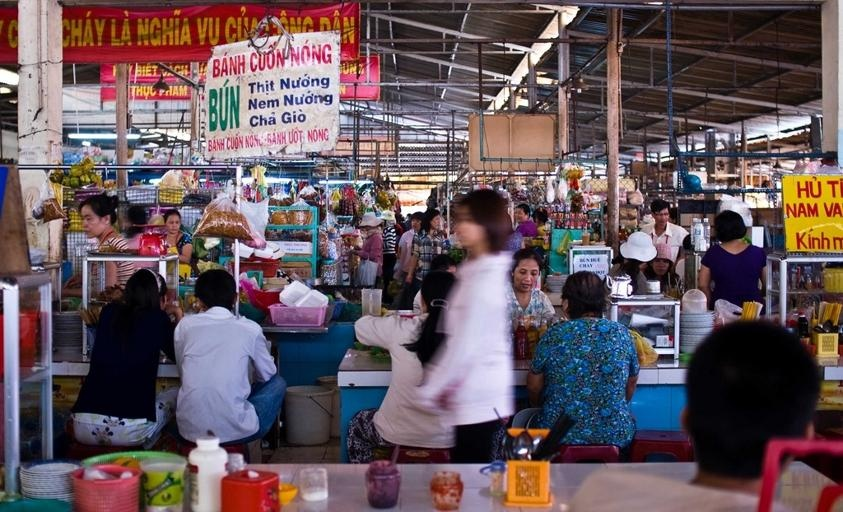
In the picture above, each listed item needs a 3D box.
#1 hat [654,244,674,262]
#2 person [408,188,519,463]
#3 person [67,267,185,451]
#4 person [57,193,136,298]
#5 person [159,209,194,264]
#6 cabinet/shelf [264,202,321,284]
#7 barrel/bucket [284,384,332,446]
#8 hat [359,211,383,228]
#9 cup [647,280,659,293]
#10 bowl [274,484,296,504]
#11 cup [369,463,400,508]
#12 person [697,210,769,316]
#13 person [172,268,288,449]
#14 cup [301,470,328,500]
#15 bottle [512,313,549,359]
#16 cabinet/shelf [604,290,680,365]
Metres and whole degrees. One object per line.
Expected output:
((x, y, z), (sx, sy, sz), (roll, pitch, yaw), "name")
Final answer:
((2.613, -0.043, 9.496), (0.219, 0.124, 0.250), (0, -8, 0), "hat")
((0.334, 0.545, 6.160), (0.584, 2.009, 0.798), (0, 2, 6), "person")
((-2.398, 0.819, 7.087), (0.781, 1.401, 0.293), (-1, 2, -21), "person")
((-3.013, -0.113, 8.137), (0.600, 0.843, 0.681), (7, 10, 30), "person")
((-2.771, -0.219, 9.987), (0.307, 0.638, 0.956), (0, 3, -14), "person")
((-1.732, -0.212, 11.886), (0.715, 0.969, 0.586), (0, 2, -7), "cabinet/shelf")
((-1.118, 1.606, 8.898), (0.586, 0.510, 0.562), (-1, -3, 0), "barrel/bucket")
((-0.850, -0.603, 14.684), (0.254, 0.153, 0.294), (-7, -1, 9), "hat")
((2.038, 0.274, 7.798), (0.099, 0.093, 0.098), (-1, 1, 0), "cup")
((-0.865, 1.535, 5.721), (0.107, 0.110, 0.192), (0, 3, 2), "bowl")
((-0.230, 1.458, 5.650), (0.249, 0.237, 0.247), (1, -5, 0), "cup")
((2.925, 0.043, 8.324), (0.601, 0.935, 0.417), (1, 2, 18), "person")
((-1.640, 0.951, 7.522), (1.036, 1.548, 1.055), (1, 5, -23), "person")
((-0.698, 1.482, 5.762), (0.179, 0.164, 0.176), (1, -4, 0), "cup")
((0.891, 0.679, 7.331), (0.208, 0.354, 0.202), (10, -23, 4), "bottle")
((1.976, 0.745, 7.745), (0.681, 0.517, 0.647), (9, -25, -9), "cabinet/shelf")
